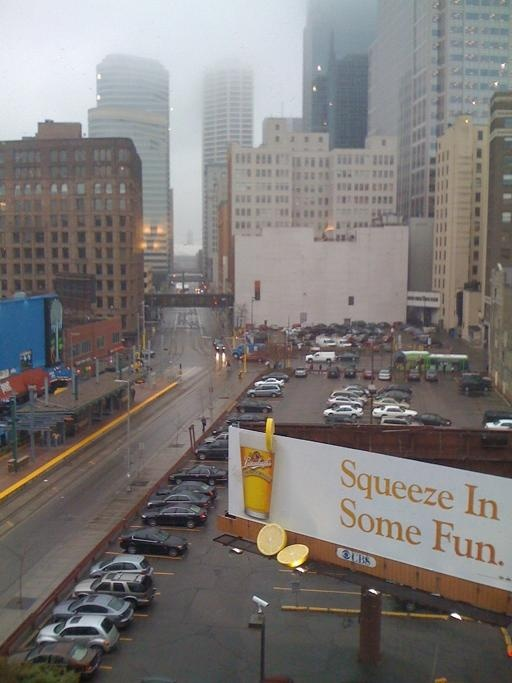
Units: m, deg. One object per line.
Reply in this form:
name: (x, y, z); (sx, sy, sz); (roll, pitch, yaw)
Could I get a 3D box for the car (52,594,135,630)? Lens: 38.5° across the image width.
car: (-6.049, 9.902, 27.387); (2.592, 0.989, 1.282); (5, 8, 9)

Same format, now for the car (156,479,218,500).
car: (-3.826, 8.300, 41.194); (2.917, 1.125, 1.341); (4, 5, 8)

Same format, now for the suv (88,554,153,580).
suv: (-5.631, 9.347, 30.657); (1.872, 1.050, 1.187); (6, 1, 6)

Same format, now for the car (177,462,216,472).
car: (-3.609, 8.227, 47.000); (1.716, 0.653, 0.858); (4, 2, 7)

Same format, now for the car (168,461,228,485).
car: (-3.373, 8.188, 45.058); (3.099, 1.089, 1.470); (2, 3, 11)

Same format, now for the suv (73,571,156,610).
suv: (-5.522, 9.668, 29.218); (2.710, 1.055, 1.407); (5, 7, 8)

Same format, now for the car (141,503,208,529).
car: (-4.128, 9.002, 37.850); (2.881, 0.992, 1.327); (3, 3, 7)

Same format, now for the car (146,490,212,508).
car: (-4.101, 8.447, 39.248); (2.964, 1.046, 1.325); (3, 3, 8)

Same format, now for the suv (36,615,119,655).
suv: (-6.139, 10.243, 26.017); (2.105, 1.057, 1.294); (6, 4, 8)

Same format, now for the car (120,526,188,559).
car: (-4.673, 9.313, 34.175); (2.728, 1.042, 1.324); (0, 10, 5)
